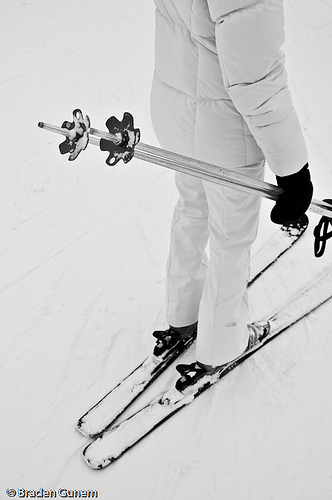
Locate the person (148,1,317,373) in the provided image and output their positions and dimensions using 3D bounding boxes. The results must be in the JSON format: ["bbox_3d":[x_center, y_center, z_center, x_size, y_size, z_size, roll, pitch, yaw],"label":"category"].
[{"bbox_3d":[0.172,-0.072,1.390,0.476,1.124,0.543,3,24,-3],"label":"person"}]
